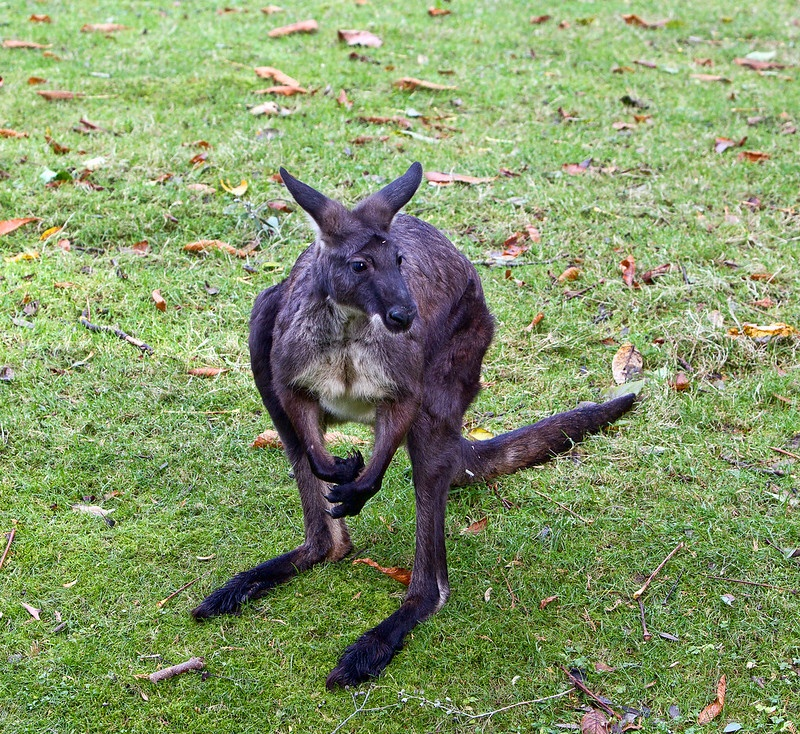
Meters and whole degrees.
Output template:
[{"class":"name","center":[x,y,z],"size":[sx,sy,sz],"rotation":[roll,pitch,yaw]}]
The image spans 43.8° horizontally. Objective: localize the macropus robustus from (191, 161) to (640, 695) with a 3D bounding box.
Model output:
[{"class":"macropus robustus","center":[0.116,-0.043,4.402],"size":[0.848,1.781,2.961],"rotation":[12,15,20]}]
